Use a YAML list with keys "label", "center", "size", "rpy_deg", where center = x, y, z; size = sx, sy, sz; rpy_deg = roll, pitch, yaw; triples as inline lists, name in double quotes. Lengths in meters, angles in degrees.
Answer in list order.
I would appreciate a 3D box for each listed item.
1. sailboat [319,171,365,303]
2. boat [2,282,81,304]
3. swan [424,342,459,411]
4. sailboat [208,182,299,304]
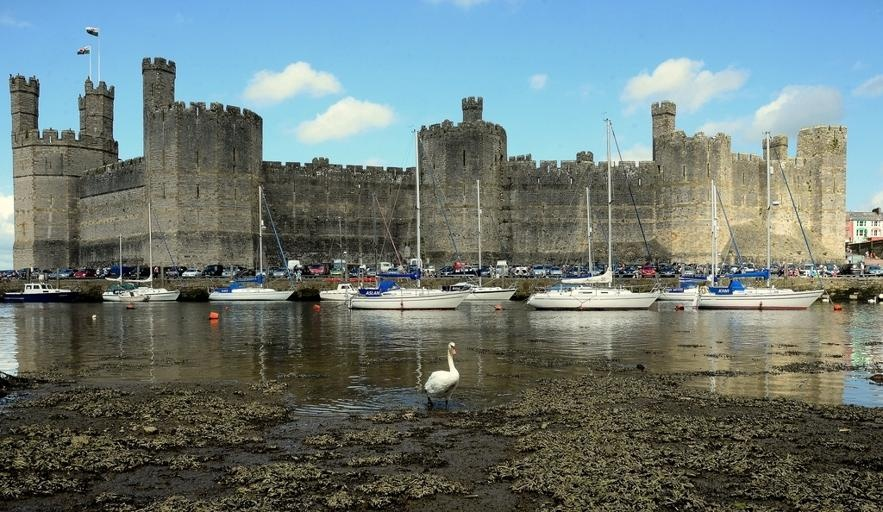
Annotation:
- label: "sailboat"
  center: [-6.788, 2.134, 68.020]
  size: [5.158, 5.518, 1.317]
  rpy_deg: [1, -2, 20]
- label: "boat"
  center: [-27.842, 2.576, 70.183]
  size: [5.768, 1.244, 1.606]
  rpy_deg: [-1, 3, -2]
- label: "swan"
  center: [0.105, 4.532, 39.237]
  size: [1.198, 2.379, 1.260]
  rpy_deg: [2, 1, -25]
- label: "sailboat"
  center: [-13.424, -1.054, 73.136]
  size: [5.519, 8.561, 11.888]
  rpy_deg: [-2, -2, -9]
